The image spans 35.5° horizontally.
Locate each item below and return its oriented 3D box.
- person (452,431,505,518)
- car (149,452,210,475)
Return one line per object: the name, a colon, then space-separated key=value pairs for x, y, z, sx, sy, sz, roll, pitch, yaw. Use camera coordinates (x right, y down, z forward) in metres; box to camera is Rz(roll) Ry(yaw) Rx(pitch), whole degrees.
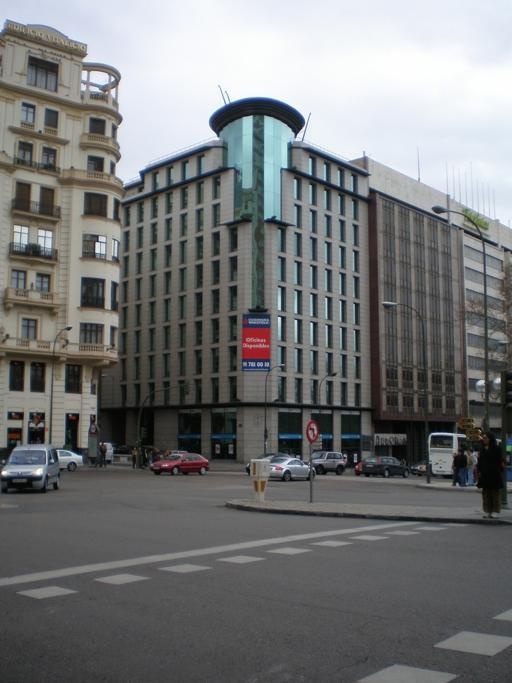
person: x=4.472 y=2.535 z=15.238 sx=0.470 sy=1.590 sz=0.751 roll=-3 pitch=-7 yaw=16
car: x=-4.428 y=6.940 z=45.590 sx=1.331 sy=1.025 sz=3.001 roll=-11 pitch=-17 yaw=41
